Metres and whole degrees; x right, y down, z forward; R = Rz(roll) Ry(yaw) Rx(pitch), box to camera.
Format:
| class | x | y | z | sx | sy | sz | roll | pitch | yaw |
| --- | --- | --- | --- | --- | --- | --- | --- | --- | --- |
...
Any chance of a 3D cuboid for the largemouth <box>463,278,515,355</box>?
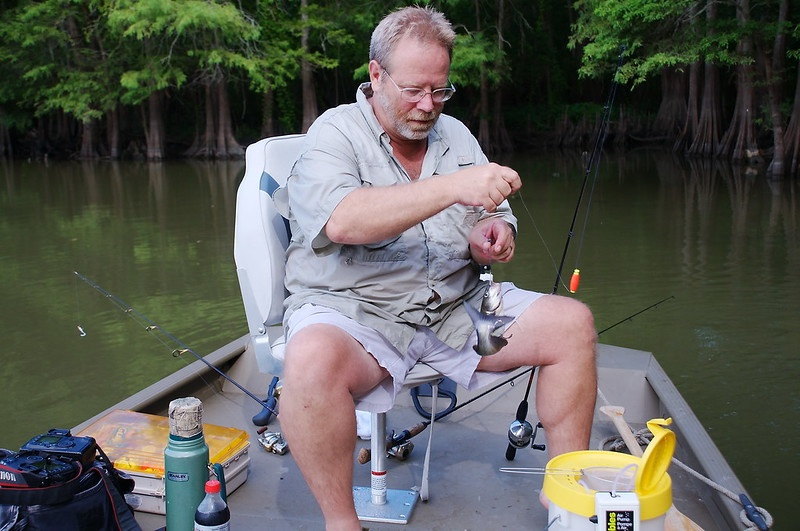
| class | x | y | z | sx | sy | sz | roll | pitch | yaw |
| --- | --- | --- | --- | --- | --- | --- | --- | --- | --- |
| largemouth | 0.345 | 0.201 | 2.778 | 0.157 | 0.260 | 0.192 | -7 | 10 | -33 |

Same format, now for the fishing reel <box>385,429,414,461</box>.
| class | x | y | z | sx | sy | sz | roll | pitch | yaw |
| --- | --- | --- | --- | --- | --- | --- | --- | --- | --- |
| fishing reel | -0.001 | 0.784 | 3.201 | 0.097 | 0.055 | 0.136 | 15 | 15 | 27 |

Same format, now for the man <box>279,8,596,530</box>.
| class | x | y | z | sx | sy | sz | roll | pitch | yaw |
| --- | --- | --- | --- | --- | --- | --- | --- | --- | --- |
| man | 0.082 | -0.012 | 2.802 | 1.123 | 1.957 | 0.669 | -4 | 8 | -10 |

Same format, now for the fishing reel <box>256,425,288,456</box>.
| class | x | y | z | sx | sy | sz | roll | pitch | yaw |
| --- | --- | --- | --- | --- | --- | --- | --- | --- | --- |
| fishing reel | -0.572 | 0.781 | 3.303 | 0.147 | 0.078 | 0.107 | 32 | 22 | 26 |

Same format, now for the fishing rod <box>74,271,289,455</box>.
| class | x | y | z | sx | sy | sz | roll | pitch | yaw |
| --- | --- | --- | --- | --- | --- | --- | --- | --- | --- |
| fishing rod | -1.218 | 0.534 | 4.024 | 1.287 | 0.154 | 0.152 | 34 | 55 | 2 |

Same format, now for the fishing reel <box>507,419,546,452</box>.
| class | x | y | z | sx | sy | sz | roll | pitch | yaw |
| --- | --- | --- | --- | --- | --- | --- | --- | --- | --- |
| fishing reel | 0.528 | 0.712 | 3.067 | 0.192 | 0.128 | 0.190 | 7 | -26 | 8 |

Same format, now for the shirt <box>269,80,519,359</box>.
| class | x | y | z | sx | sy | sz | roll | pitch | yaw |
| --- | --- | --- | --- | --- | --- | --- | --- | --- | --- |
| shirt | 0.038 | -0.117 | 3.287 | 1.227 | 1.253 | 0.936 | 3 | -2 | -30 |
